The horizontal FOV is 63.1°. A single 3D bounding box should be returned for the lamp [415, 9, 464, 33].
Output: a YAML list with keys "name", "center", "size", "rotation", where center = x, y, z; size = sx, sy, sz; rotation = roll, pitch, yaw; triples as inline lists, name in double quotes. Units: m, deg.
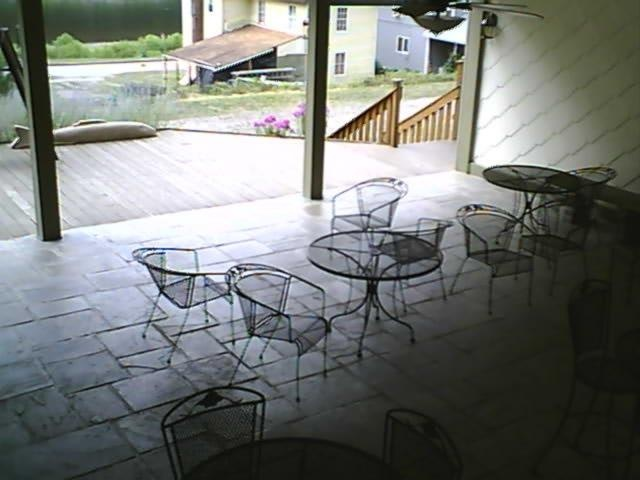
- name: "lamp"
  center: [1.033, -1.912, 4.409]
  size: [0.260, 0.079, 0.249]
  rotation: [6, 2, 30]
